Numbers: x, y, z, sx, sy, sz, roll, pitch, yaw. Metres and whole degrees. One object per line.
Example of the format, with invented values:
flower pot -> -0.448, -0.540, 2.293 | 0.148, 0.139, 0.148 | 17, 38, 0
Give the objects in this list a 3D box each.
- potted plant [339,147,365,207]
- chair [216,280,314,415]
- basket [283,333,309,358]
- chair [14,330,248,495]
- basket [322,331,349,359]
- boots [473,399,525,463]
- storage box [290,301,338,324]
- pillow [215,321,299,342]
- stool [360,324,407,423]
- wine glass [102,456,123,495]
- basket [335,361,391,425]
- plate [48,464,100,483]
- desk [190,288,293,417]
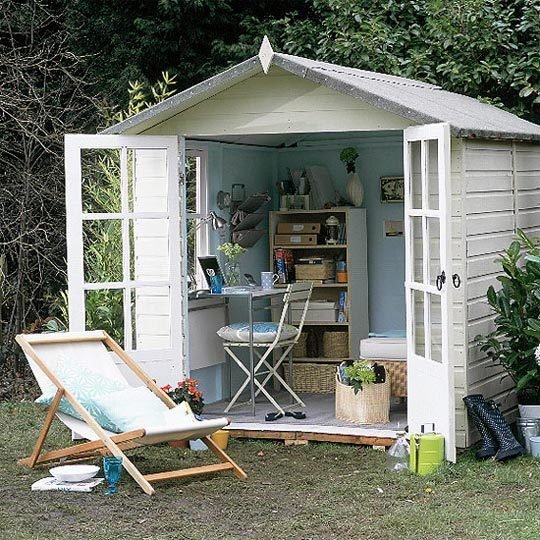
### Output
potted plant -> 0.909, -0.998, 7.239 | 0.372, 0.641, 0.345 | -9, 13, 1
chair -> -0.064, 0.662, 5.999 | 0.807, 1.216, 0.672 | 5, 8, 33
basket -> 0.314, 0.821, 7.242 | 0.233, 0.371, 0.225 | -1, -1, 20
chair -> -1.065, 0.878, 4.544 | 1.644, 0.897, 0.868 | 5, 4, 39
basket -> 0.690, 0.787, 6.912 | 0.293, 0.255, 0.273 | 0, -1, -9
boots -> 1.562, 1.082, 4.487 | 0.211, 0.395, 0.283 | 6, 6, 27
storage box -> 0.467, 0.448, 6.955 | 0.411, 0.173, 0.285 | 0, -1, 22
pillow -> -0.102, 0.533, 5.850 | 0.478, 0.199, 0.432 | 2, 5, 30
stool -> 1.062, 0.926, 6.155 | 0.607, 0.579, 0.592 | -1, 0, -17
wine glass -> -0.956, 1.216, 3.987 | 0.099, 0.225, 0.357 | -2, -1, -15
basket -> 0.784, 0.981, 5.443 | 0.487, 0.490, 0.445 | -1, 0, 12
plate -> -1.220, 1.274, 4.147 | 0.280, 0.095, 0.229 | -2, -2, -6
desk -> -0.145, 0.758, 6.151 | 1.069, 1.253, 1.464 | 0, 1, 15
